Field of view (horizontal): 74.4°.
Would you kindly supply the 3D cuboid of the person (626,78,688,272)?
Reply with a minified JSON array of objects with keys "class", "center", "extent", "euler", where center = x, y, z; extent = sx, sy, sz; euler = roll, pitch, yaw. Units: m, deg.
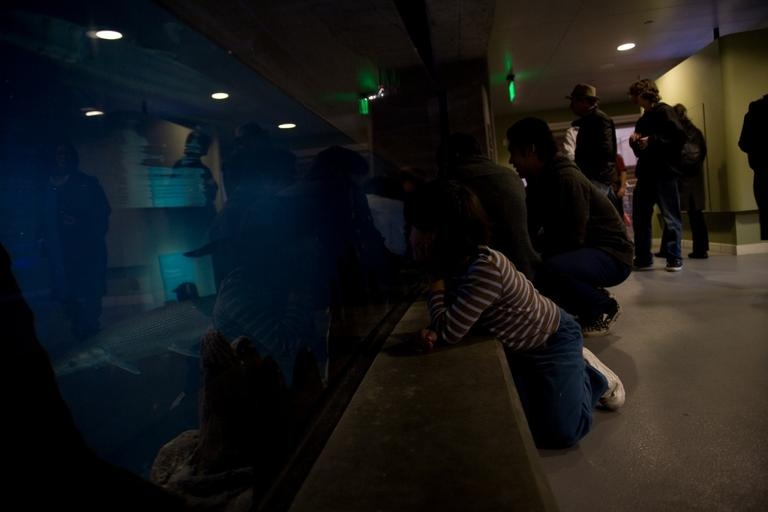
[{"class":"person","center":[2.114,-0.515,3.938],"extent":[0.391,1.289,0.363],"euler":[3,12,35]}]

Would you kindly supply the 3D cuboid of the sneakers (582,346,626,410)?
[{"class":"sneakers","center":[0.694,0.408,1.678],"extent":[0.141,0.179,0.062],"euler":[-43,-13,-38]}]

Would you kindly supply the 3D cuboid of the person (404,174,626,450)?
[{"class":"person","center":[0.458,0.196,1.700],"extent":[0.776,0.859,0.496],"euler":[-3,-1,-8]}]
